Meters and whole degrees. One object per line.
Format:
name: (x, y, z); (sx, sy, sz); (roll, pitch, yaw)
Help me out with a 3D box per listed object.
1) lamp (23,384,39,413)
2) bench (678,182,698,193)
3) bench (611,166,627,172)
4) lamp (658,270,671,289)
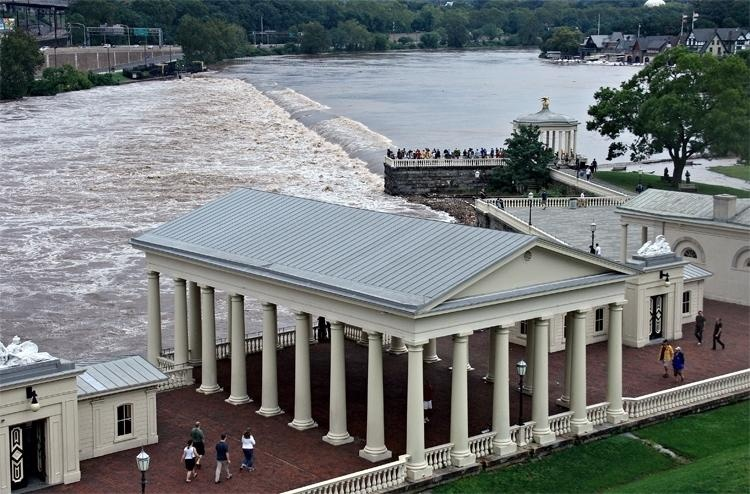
lamp: (-19.016, 8.500, 70.874); (0.669, 1.487, 0.603); (-8, 20, -19)
bench: (30.728, -5.768, 124.643); (2.414, 0.444, 2.010); (-1, 14, 5)
bench: (27.926, -8.845, 145.164); (1.569, 0.353, 3.987); (2, 16, 10)
lamp: (20.088, 2.207, 87.626); (0.967, 1.350, 0.287); (-13, 22, -32)
